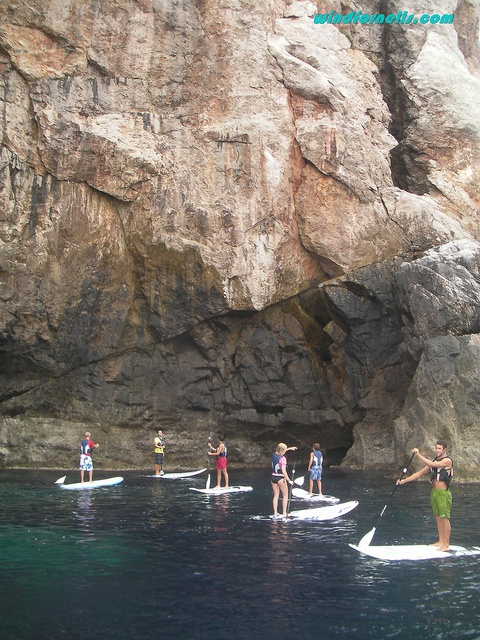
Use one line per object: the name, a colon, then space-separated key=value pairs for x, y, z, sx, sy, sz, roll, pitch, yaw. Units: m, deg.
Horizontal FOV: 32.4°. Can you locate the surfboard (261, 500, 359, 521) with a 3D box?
surfboard: x=1.578 y=4.321 z=18.665 sx=2.260 sy=0.330 sz=0.579 roll=0 pitch=-2 yaw=-25

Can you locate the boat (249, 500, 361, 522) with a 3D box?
boat: x=1.613 y=4.323 z=18.356 sx=2.565 sy=0.363 sz=0.743 roll=0 pitch=-7 yaw=-27

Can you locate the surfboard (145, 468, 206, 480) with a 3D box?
surfboard: x=-2.094 y=4.931 z=26.405 sx=2.393 sy=0.331 sz=0.540 roll=-1 pitch=-4 yaw=-6

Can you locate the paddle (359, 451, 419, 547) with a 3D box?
paddle: x=3.642 y=4.357 z=20.101 sx=0.235 sy=3.291 sz=0.368 roll=27 pitch=8 yaw=-31

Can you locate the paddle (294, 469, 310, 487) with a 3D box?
paddle: x=1.697 y=4.638 z=23.664 sx=0.118 sy=0.582 sz=0.298 roll=-17 pitch=49 yaw=-42

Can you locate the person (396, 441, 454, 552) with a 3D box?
person: x=3.507 y=3.215 z=15.302 sx=0.769 sy=1.868 sz=1.487 roll=2 pitch=1 yaw=13

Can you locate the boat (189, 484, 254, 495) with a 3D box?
boat: x=-0.424 y=4.567 z=22.137 sx=2.060 sy=0.279 sz=0.538 roll=6 pitch=-8 yaw=-38

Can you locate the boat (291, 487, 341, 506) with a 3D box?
boat: x=1.835 y=4.518 z=21.002 sx=0.384 sy=0.200 sz=1.432 roll=-6 pitch=5 yaw=-30

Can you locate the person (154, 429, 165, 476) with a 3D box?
person: x=-2.509 y=4.187 z=26.027 sx=0.274 sy=1.154 sz=0.962 roll=1 pitch=1 yaw=-5

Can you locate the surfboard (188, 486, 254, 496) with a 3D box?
surfboard: x=-0.450 y=4.561 z=22.095 sx=2.016 sy=0.268 sz=0.536 roll=7 pitch=-11 yaw=-37
